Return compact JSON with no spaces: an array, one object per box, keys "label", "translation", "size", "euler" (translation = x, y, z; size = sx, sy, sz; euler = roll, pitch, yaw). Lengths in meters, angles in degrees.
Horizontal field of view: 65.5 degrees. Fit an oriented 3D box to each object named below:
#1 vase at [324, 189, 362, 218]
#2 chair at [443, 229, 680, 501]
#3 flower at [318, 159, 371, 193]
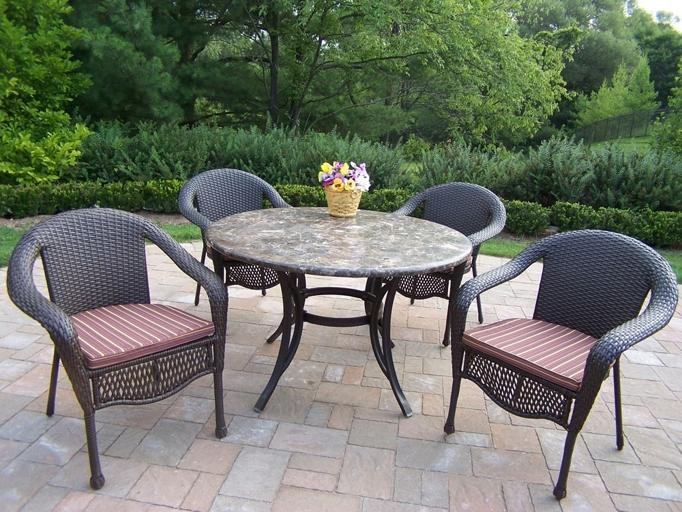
[{"label":"vase","translation":[0.016,-0.364,3.641],"size":[0.248,0.133,0.216],"euler":[1,7,-1]},{"label":"chair","translation":[1.171,0.482,2.930],"size":[0.980,1.166,0.901],"euler":[-19,31,-41]},{"label":"flower","translation":[0.036,-0.575,3.681],"size":[0.327,0.200,0.368],"euler":[4,21,4]}]
